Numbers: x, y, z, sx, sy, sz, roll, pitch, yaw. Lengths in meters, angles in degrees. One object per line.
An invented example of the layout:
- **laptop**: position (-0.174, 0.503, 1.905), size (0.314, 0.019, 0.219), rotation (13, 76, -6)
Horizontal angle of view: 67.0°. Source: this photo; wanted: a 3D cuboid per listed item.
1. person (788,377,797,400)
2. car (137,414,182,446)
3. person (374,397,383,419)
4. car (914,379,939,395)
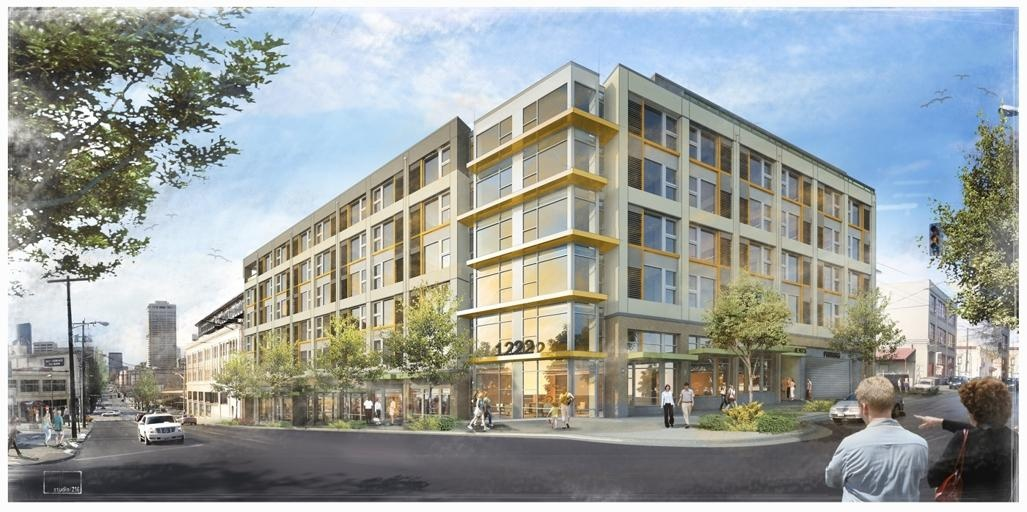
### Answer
- **person**: position (22.050, 10.494, 61.428), size (0.819, 1.730, 0.449), rotation (-5, -16, 17)
- **car**: position (-21.686, 10.549, 47.335), size (3.064, 1.794, 1.212), rotation (-4, -16, 14)
- **person**: position (-10.223, 11.434, 58.081), size (0.634, 1.489, 0.439), rotation (2, -16, -7)
- **car**: position (29.741, 9.390, 55.727), size (1.868, 0.814, 1.073), rotation (15, -20, -40)
